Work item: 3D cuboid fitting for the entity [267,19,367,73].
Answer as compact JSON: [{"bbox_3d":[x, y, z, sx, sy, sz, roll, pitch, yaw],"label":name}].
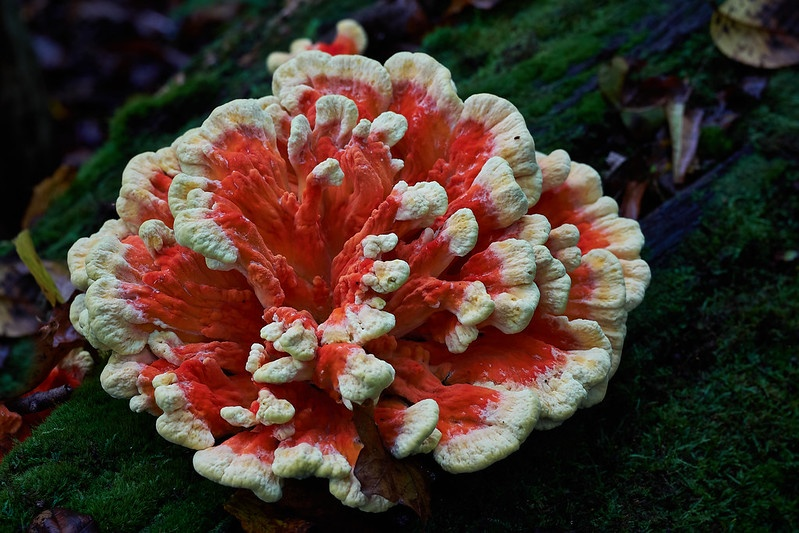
[{"bbox_3d":[-0.519,-1.872,6.624,0.583,0.630,0.211,-12,95,25],"label":"entity"}]
